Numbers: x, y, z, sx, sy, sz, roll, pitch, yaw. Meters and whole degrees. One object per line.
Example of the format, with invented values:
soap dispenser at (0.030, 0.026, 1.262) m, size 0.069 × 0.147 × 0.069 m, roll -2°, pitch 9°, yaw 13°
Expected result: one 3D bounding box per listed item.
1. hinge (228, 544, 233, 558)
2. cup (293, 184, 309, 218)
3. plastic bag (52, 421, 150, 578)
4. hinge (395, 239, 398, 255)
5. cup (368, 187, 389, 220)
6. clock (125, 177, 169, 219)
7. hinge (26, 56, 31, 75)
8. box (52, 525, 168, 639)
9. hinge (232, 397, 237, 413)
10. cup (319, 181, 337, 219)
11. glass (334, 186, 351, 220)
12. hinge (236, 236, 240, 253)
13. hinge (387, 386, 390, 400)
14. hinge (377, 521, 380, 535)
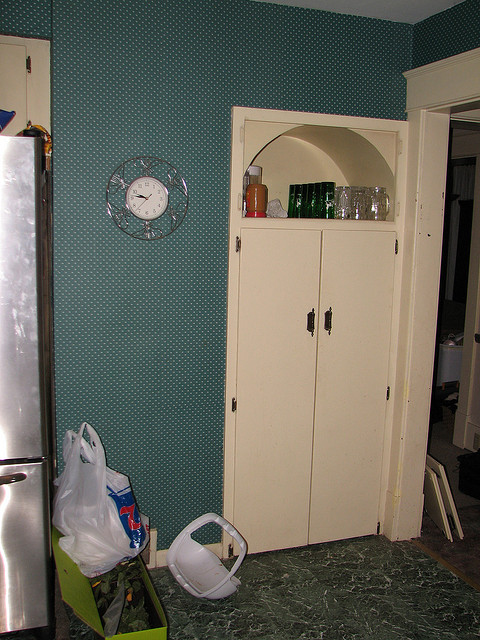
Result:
hinge at (-0.046, 1.107, 2.624) m, size 0.023 × 0.070 × 0.013 m, roll 1°, pitch 7°, yaw -7°
cup at (0.296, -0.581, 2.638) m, size 0.074 × 0.154 × 0.034 m, roll 3°, pitch 7°, yaw 15°
plastic bag at (-0.571, 0.644, 2.138) m, size 0.394 × 0.515 × 0.325 m, roll 14°, pitch 16°, yaw 34°
hinge at (0.773, -0.364, 2.683) m, size 0.004 × 0.073 × 0.020 m, roll 8°, pitch 9°, yaw 42°
cup at (0.679, -0.576, 2.672) m, size 0.141 × 0.163 × 0.094 m, roll 1°, pitch 7°, yaw 4°
clock at (-0.387, -0.508, 2.260) m, size 0.153 × 0.171 × 0.038 m, roll -15°, pitch 17°, yaw -21°
hinge at (-0.809, -0.979, 2.083) m, size 0.016 × 0.057 × 0.004 m, roll -1°, pitch 7°, yaw -21°
box at (-0.445, 1.028, 1.993) m, size 0.317 × 0.149 × 0.588 m, roll 18°, pitch 10°, yaw -37°
hinge at (-0.026, 0.390, 2.532) m, size 0.031 × 0.047 × 0.013 m, roll 1°, pitch -1°, yaw -3°
cup at (0.419, -0.575, 2.604) m, size 0.079 × 0.162 × 0.037 m, roll 1°, pitch 7°, yaw -6°
glass at (0.499, -0.569, 2.629) m, size 0.079 × 0.158 × 0.084 m, roll 3°, pitch 7°, yaw 12°
hinge at (-0.009, -0.337, 2.406) m, size 0.015 × 0.060 × 0.005 m, roll -1°, pitch 7°, yaw -21°
hinge at (0.762, 0.368, 2.791) m, size 0.017 × 0.063 × 0.003 m, roll -3°, pitch 8°, yaw -36°
hinge at (0.738, 1.102, 2.898) m, size 0.023 × 0.066 × 0.005 m, roll -4°, pitch 8°, yaw -38°
